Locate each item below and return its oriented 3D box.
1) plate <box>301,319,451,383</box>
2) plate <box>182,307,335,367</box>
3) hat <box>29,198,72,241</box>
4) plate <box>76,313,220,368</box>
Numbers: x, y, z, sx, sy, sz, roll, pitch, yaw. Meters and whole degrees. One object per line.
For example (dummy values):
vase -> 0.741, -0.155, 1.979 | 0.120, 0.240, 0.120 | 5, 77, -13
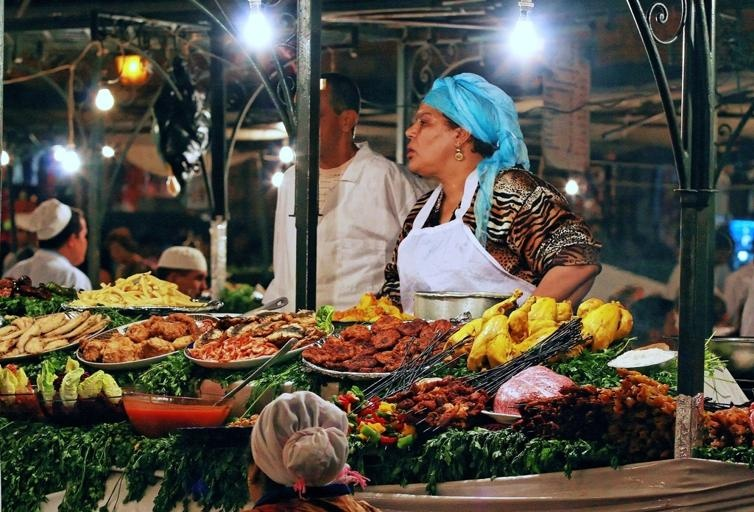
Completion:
plate -> -0.008, 0.586, 6.756 | 0.614, 0.087, 0.474 | -19, 19, -37
plate -> -0.785, 0.550, 6.959 | 0.528, 0.097, 0.489 | -21, 14, -23
hat -> -3.383, -0.372, 11.122 | 0.380, 0.424, 0.673 | -1, 1, -18
plate -> -1.600, 0.572, 7.161 | 0.499, 0.123, 0.685 | 9, 39, 15
